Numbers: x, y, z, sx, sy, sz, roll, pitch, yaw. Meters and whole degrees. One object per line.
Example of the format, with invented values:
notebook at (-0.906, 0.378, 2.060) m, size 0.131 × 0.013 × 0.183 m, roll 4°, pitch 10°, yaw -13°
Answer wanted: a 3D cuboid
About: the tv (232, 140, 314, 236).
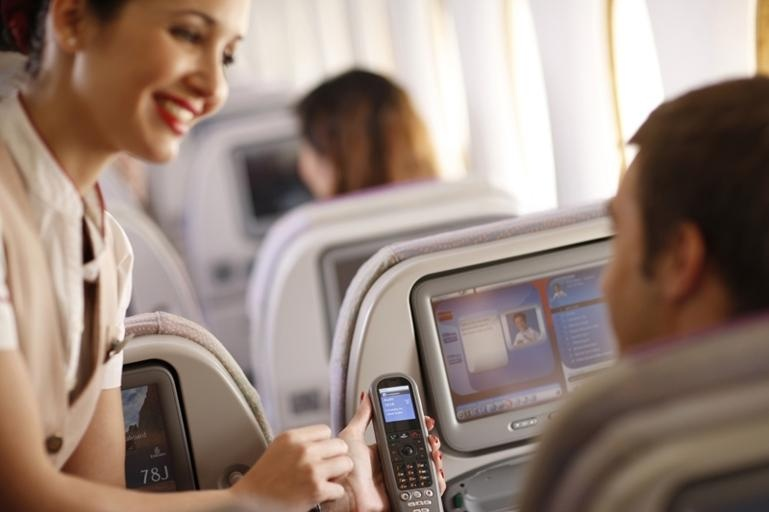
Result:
tv at (-0.239, -0.153, 1.583) m, size 0.166 × 0.181 × 0.020 m, roll -8°, pitch 12°, yaw -8°
